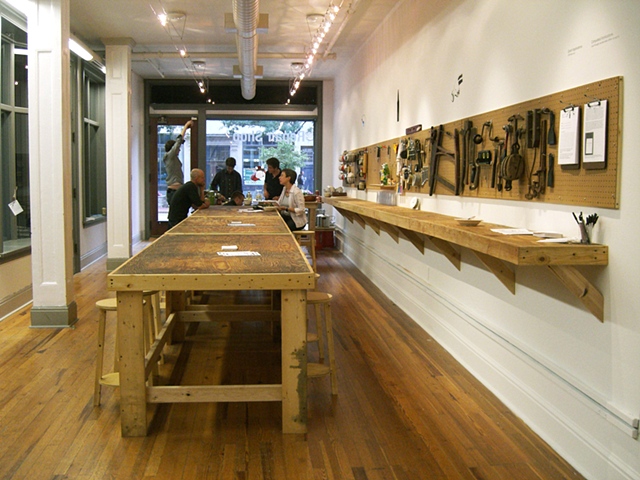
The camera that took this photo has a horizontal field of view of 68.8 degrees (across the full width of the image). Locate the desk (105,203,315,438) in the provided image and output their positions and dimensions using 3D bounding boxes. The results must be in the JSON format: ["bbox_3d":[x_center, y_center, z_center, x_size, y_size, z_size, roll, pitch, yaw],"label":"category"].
[{"bbox_3d":[-0.792,0.563,3.910,1.236,1.127,2.275,0,8,-8],"label":"desk"}]

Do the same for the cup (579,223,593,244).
[{"bbox_3d":[1.577,-0.041,2.745,0.077,0.122,0.067,-2,8,-19],"label":"cup"}]

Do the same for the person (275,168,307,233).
[{"bbox_3d":[-0.496,-0.629,6.997,0.550,0.877,0.584,7,17,31],"label":"person"}]
